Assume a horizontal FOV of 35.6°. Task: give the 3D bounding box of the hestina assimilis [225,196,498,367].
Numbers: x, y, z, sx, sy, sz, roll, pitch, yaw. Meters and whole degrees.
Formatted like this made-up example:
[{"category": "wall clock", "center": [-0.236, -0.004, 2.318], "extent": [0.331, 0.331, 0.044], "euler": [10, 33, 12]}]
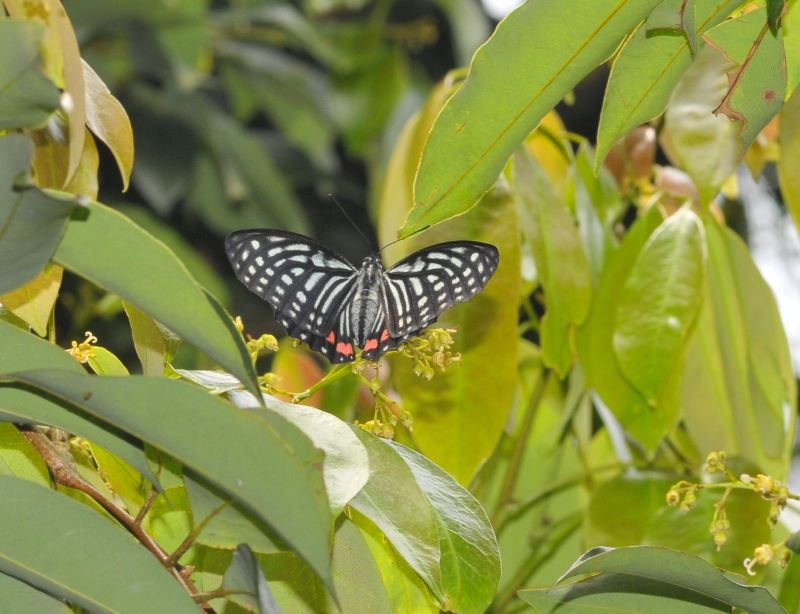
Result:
[{"category": "hestina assimilis", "center": [-0.030, -0.020, 1.239], "extent": [0.266, 0.174, 0.064], "euler": [5, 4, -1]}]
